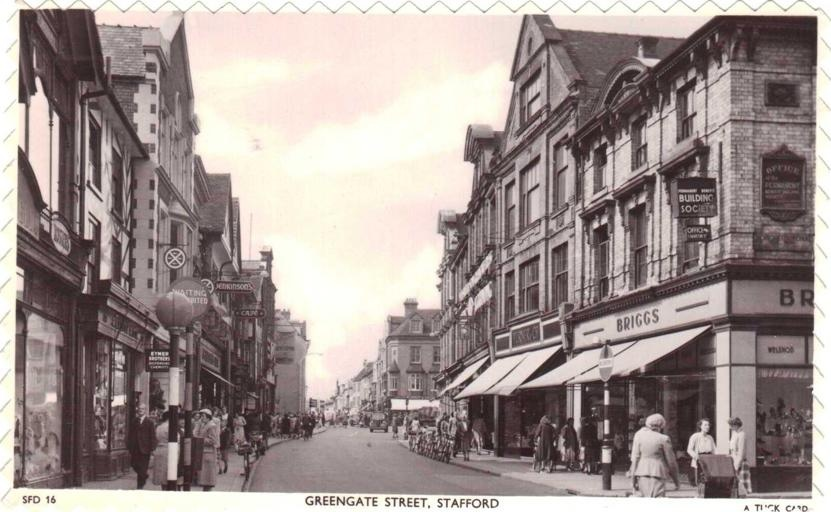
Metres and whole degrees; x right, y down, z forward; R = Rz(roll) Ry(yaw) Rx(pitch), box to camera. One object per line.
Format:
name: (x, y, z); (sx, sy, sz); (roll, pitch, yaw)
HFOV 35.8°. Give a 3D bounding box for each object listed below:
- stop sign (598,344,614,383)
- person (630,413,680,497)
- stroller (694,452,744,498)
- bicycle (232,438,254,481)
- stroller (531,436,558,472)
stop sign: (5.479, 3.054, 36.904); (0.281, 0.961, 0.719); (2, -19, -4)
person: (5.849, 4.890, 31.494); (1.075, 1.976, 0.652); (-2, -19, 10)
stroller: (7.352, 5.573, 32.688); (0.816, 1.361, 1.980); (-1, -2, -9)
bicycle: (-5.408, 6.494, 40.766); (0.926, 1.156, 2.050); (0, -13, -3)
stroller: (4.394, 6.866, 43.681); (0.784, 1.191, 1.565); (-1, -19, 5)
